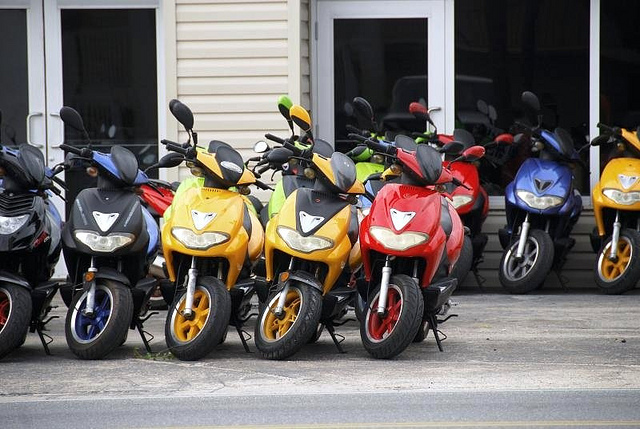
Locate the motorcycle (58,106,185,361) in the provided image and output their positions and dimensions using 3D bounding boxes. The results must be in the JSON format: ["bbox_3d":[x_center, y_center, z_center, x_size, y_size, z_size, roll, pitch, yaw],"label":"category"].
[{"bbox_3d":[-1.784,0.312,7.433,0.806,1.807,0.729,-2,6,-18],"label":"motorcycle"}]

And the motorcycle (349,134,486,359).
[{"bbox_3d":[0.789,0.272,7.493,0.927,1.890,0.766,-2,6,-15],"label":"motorcycle"}]
